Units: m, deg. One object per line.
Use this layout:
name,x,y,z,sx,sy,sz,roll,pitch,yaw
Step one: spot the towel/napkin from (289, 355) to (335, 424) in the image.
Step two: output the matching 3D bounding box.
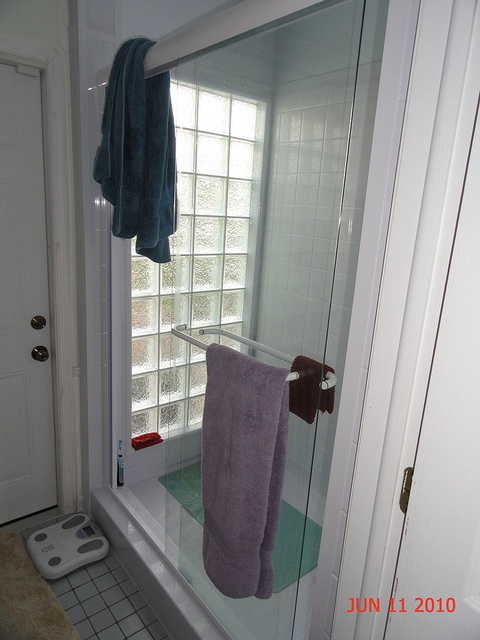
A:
towel/napkin,0.150,0.151,0.976,0.039,0.128,0.106,6,1,-31

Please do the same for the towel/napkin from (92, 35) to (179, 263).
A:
towel/napkin,-0.308,-0.515,1.316,0.244,0.579,0.124,7,12,22
